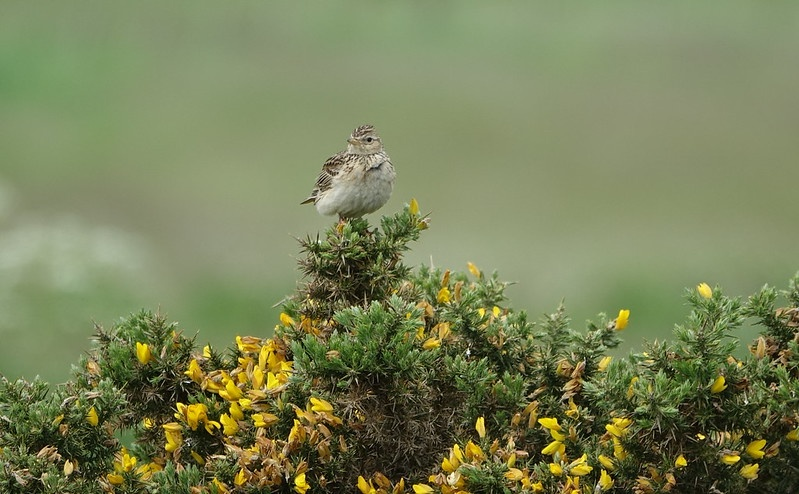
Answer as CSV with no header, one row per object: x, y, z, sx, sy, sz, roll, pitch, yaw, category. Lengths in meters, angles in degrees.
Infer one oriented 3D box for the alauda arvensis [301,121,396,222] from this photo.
-0.404,-0.538,8.003,0.552,0.967,0.704,-4,-85,-32,alauda arvensis
